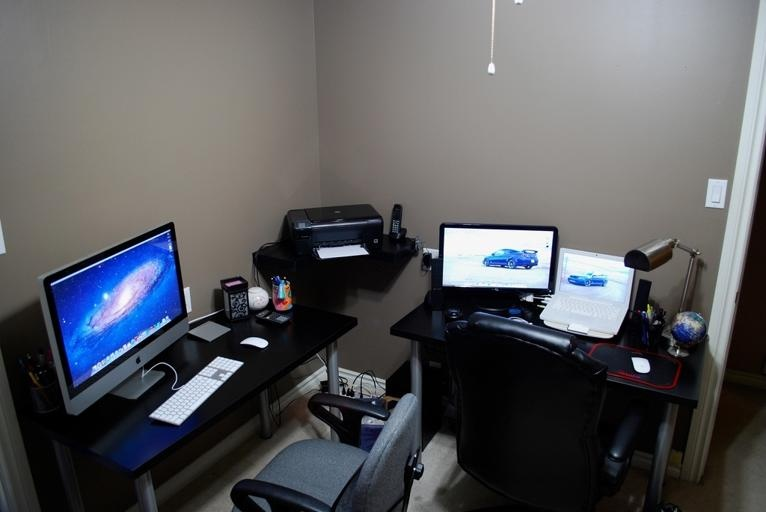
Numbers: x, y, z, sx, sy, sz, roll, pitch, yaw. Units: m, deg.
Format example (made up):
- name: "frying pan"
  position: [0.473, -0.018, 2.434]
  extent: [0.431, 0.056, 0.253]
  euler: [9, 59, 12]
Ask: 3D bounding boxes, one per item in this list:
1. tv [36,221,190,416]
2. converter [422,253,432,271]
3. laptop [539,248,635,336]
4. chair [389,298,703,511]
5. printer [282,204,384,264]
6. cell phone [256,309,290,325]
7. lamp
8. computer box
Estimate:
- name: "tv"
  position: [-1.322, 0.308, 2.634]
  extent: [0.222, 0.698, 0.707]
  euler: [9, 20, 17]
- name: "converter"
  position: [0.292, 0.045, 3.677]
  extent: [0.035, 0.104, 0.101]
  euler: [14, 31, 18]
- name: "laptop"
  position: [1.229, 0.216, 3.233]
  extent: [0.464, 0.359, 0.515]
  euler: [14, 32, 27]
- name: "chair"
  position: [1.095, 0.364, 3.230]
  extent: [1.496, 1.189, 1.108]
  euler: [10, 13, 30]
- name: "printer"
  position: [-0.305, -0.152, 3.565]
  extent: [0.604, 0.262, 0.350]
  euler: [-2, 19, -3]
- name: "cell phone"
  position: [-0.655, 0.361, 3.276]
  extent: [0.161, 0.040, 0.090]
  euler: [12, 32, 15]
- name: "lamp"
  position: [1.538, 0.127, 3.038]
  extent: [0.265, 0.446, 0.524]
  euler: [15, 24, 39]
- name: "computer box"
  position: [0.275, 1.102, 3.850]
  extent: [0.403, 0.585, 0.788]
  euler: [1, 4, 16]
